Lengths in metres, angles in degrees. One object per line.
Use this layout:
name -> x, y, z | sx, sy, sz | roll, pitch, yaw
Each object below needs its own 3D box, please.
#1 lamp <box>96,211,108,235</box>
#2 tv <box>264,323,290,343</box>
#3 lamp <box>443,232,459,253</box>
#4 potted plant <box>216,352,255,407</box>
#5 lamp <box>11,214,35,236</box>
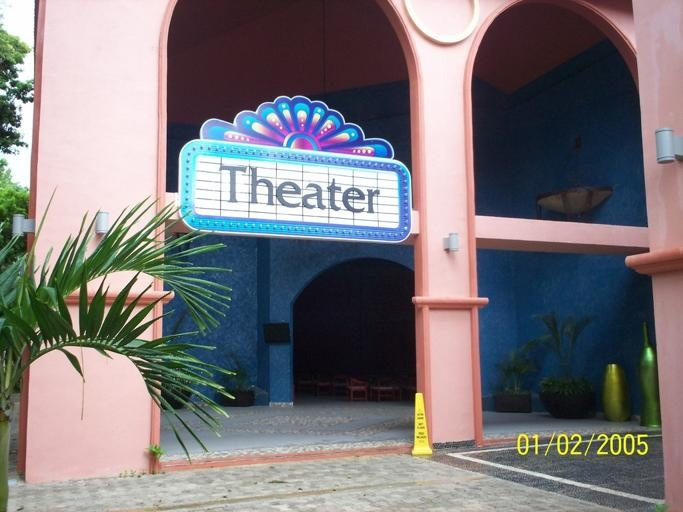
lamp -> -2.956, -0.414, 8.311 | 0.143, 0.287, 0.346 | 1, -4, -21
tv -> -1.489, 1.816, 15.791 | 0.727, 0.561, 0.413 | -1, -9, 1
lamp -> 1.626, -0.190, 9.830 | 0.207, 0.275, 0.177 | 1, -4, -11
potted plant -> -2.440, 2.941, 15.913 | 0.857, 1.227, 1.078 | 1, -4, -13
lamp -> -3.837, -0.374, 8.186 | 0.218, 0.262, 0.360 | -1, -4, 17
